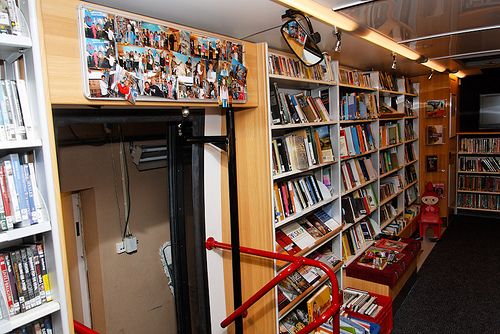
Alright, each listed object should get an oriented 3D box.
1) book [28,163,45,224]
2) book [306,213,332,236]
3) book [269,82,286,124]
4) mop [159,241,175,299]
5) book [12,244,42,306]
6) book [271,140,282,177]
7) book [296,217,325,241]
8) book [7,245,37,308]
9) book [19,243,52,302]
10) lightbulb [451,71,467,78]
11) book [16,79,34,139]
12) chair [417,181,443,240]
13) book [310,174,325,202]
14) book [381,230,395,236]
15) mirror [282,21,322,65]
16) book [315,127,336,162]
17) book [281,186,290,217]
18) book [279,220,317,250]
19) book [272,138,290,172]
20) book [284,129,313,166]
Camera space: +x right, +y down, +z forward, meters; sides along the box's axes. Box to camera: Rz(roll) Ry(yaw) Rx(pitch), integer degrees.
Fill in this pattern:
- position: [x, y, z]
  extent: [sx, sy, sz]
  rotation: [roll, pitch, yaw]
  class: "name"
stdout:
- position: [-1.274, 0.154, 2.046]
  extent: [0.034, 0.344, 0.095]
  rotation: [-10, 15, -33]
  class: "book"
- position: [0.771, 0.648, 3.887]
  extent: [0.121, 0.052, 0.393]
  rotation: [-21, 45, -24]
  class: "book"
- position: [0.246, -0.618, 3.326]
  extent: [0.073, 0.327, 0.309]
  rotation: [-10, -1, -2]
  class: "book"
- position: [-0.868, 1.126, 3.660]
  extent: [0.087, 0.676, 0.213]
  rotation: [3, 14, -3]
  class: "mop"
- position: [-1.311, 0.662, 2.085]
  extent: [0.040, 0.343, 0.099]
  rotation: [-10, 15, -34]
  class: "book"
- position: [0.247, -0.083, 3.217]
  extent: [0.059, 0.259, 0.257]
  rotation: [-9, 3, -1]
  class: "book"
- position: [0.656, 0.671, 3.723]
  extent: [0.166, 0.302, 0.053]
  rotation: [-28, -19, -46]
  class: "book"
- position: [-1.372, 0.671, 2.055]
  extent: [0.248, 0.339, 0.055]
  rotation: [1, 6, 40]
  class: "book"
- position: [-1.306, 0.647, 2.083]
  extent: [0.159, 0.286, 0.288]
  rotation: [-25, 8, -39]
  class: "book"
- position: [4.002, -1.791, 6.581]
  extent: [0.230, 0.060, 0.160]
  rotation: [-1, -2, -43]
  class: "lightbulb"
- position: [-1.325, -0.343, 2.029]
  extent: [0.050, 0.338, 0.099]
  rotation: [-10, 15, -33]
  class: "book"
- position: [3.240, 0.791, 6.167]
  extent: [0.375, 0.977, 0.329]
  rotation: [0, 3, 30]
  class: "chair"
- position: [0.748, 0.234, 3.789]
  extent: [0.057, 0.245, 0.247]
  rotation: [-21, 47, 1]
  class: "book"
- position: [2.197, 1.042, 5.409]
  extent: [0.140, 0.144, 0.035]
  rotation: [6, 21, -2]
  class: "book"
- position: [0.459, -1.079, 2.989]
  extent: [0.254, 0.119, 0.524]
  rotation: [-4, -31, 41]
  class: "mirror"
- position: [0.837, -0.253, 3.865]
  extent: [0.306, 0.411, 0.064]
  rotation: [-21, 5, -43]
  class: "book"
- position: [0.345, 0.331, 3.341]
  extent: [0.038, 0.326, 0.053]
  rotation: [-8, 4, 29]
  class: "book"
- position: [0.507, 0.676, 3.527]
  extent: [0.337, 0.077, 0.227]
  rotation: [45, 24, 20]
  class: "book"
- position: [0.310, -0.114, 3.302]
  extent: [0.061, 0.261, 0.259]
  rotation: [-7, 4, -8]
  class: "book"
- position: [0.488, -0.190, 3.594]
  extent: [0.089, 0.344, 0.338]
  rotation: [-3, -1, 31]
  class: "book"
